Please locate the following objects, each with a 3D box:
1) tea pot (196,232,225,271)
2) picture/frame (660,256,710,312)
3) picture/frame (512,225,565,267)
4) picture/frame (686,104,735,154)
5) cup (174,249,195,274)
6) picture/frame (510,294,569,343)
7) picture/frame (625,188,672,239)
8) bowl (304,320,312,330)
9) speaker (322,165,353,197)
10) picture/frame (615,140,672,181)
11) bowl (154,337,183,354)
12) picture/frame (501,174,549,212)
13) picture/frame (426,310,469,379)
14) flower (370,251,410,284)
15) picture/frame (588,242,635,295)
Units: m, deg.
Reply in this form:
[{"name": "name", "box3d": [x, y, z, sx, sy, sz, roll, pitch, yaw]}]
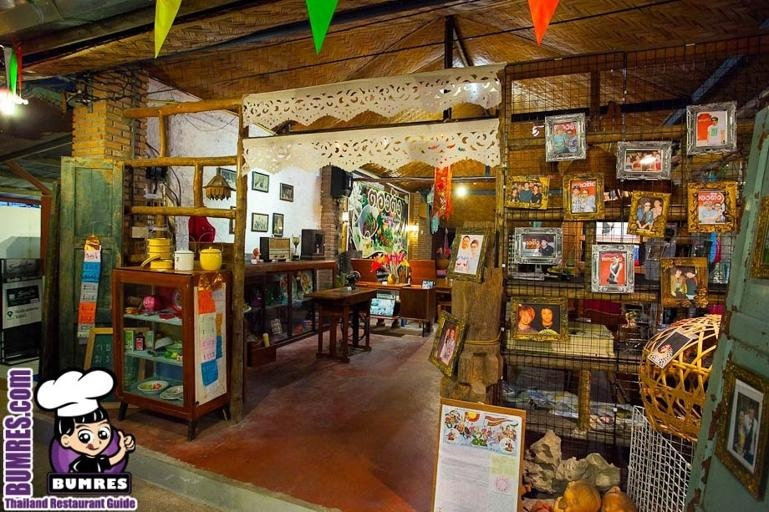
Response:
[{"name": "tea pot", "box3d": [-1.987, 0.003, 6.185, 0.335, 0.461, 0.319, 0, -6, 0]}, {"name": "picture/frame", "box3d": [2.706, 0.241, 4.741, 0.487, 0.557, 0.079, 1, -3, 2]}, {"name": "picture/frame", "box3d": [1.493, -0.116, 5.059, 0.440, 0.379, 0.232, 2, 15, 26]}, {"name": "picture/frame", "box3d": [2.863, -1.114, 4.594, 0.415, 0.475, 0.059, 2, 2, 23]}, {"name": "cup", "box3d": [-2.267, 0.067, 5.958, 0.237, 0.234, 0.261, 0, 1, 0]}, {"name": "picture/frame", "box3d": [1.460, 0.592, 4.936, 0.458, 0.389, 0.051, 0, -2, 6]}, {"name": "picture/frame", "box3d": [2.417, -0.370, 4.786, 0.365, 0.415, 0.198, 4, 11, 13]}, {"name": "bowl", "box3d": [-1.466, 1.348, 10.258, 0.171, 0.121, 0.172, 0, -2, 0]}, {"name": "speaker", "box3d": [-1.070, -1.674, 12.109, 0.719, 0.748, 0.487, 0, 10, -6]}, {"name": "picture/frame", "box3d": [2.356, -0.867, 4.767, 0.377, 0.316, 0.033, 1, 1, 13]}, {"name": "bowl", "box3d": [-2.523, 1.057, 6.199, 0.229, 0.060, 0.232, 2, 1, 0]}, {"name": "picture/frame", "box3d": [1.343, -0.584, 4.994, 0.344, 0.275, 0.049, 3, -1, 19]}, {"name": "picture/frame", "box3d": [0.581, 0.828, 4.946, 0.224, 0.567, 0.428, -2, 11, -18]}, {"name": "flower", "box3d": [0.168, 0.254, 10.468, 0.638, 0.524, 0.644, -2, -2, -2]}, {"name": "picture/frame", "box3d": [2.100, 0.124, 4.834, 0.481, 0.583, 0.047, 1, -1, 15]}]
